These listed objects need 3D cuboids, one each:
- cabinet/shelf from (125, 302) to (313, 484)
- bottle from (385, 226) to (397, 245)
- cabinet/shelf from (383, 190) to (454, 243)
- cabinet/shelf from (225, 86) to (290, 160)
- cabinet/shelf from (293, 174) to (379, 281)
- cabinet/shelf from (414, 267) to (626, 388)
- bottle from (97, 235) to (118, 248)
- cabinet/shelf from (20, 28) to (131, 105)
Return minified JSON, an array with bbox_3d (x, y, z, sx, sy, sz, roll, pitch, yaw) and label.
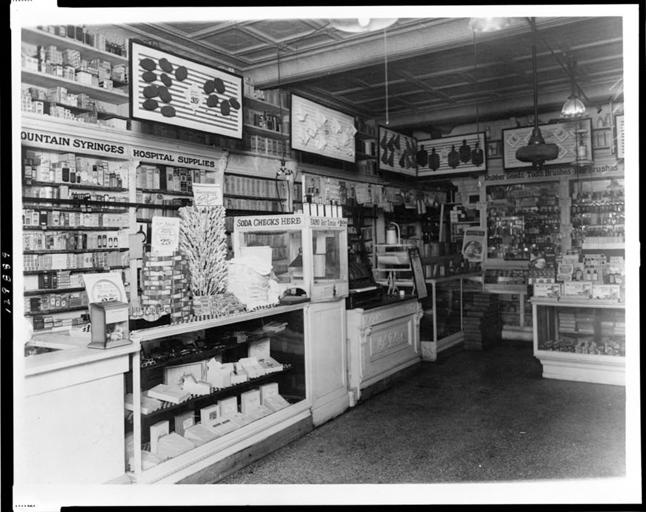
[{"bbox_3d":[-0.912,1.172,4.675,0.499,1.297,2.132,1,4,36],"label":"cabinet/shelf"},{"bbox_3d":[1.010,-0.330,7.928,0.138,0.254,0.476,-1,4,10],"label":"bottle"},{"bbox_3d":[2.010,-0.902,11.495,1.361,1.267,0.468,1,2,-41],"label":"cabinet/shelf"},{"bbox_3d":[-0.879,-1.995,8.322,0.296,0.823,0.890,12,9,36],"label":"cabinet/shelf"},{"bbox_3d":[0.229,-0.600,8.476,1.044,1.692,4.983,-1,4,5],"label":"cabinet/shelf"},{"bbox_3d":[3.273,0.898,8.239,2.879,1.254,2.864,2,5,41],"label":"cabinet/shelf"},{"bbox_3d":[-2.663,-0.202,6.637,0.244,0.177,0.129,0,3,-39],"label":"bottle"},{"bbox_3d":[-3.067,-2.298,6.539,0.417,0.782,1.376,27,27,30],"label":"cabinet/shelf"}]
